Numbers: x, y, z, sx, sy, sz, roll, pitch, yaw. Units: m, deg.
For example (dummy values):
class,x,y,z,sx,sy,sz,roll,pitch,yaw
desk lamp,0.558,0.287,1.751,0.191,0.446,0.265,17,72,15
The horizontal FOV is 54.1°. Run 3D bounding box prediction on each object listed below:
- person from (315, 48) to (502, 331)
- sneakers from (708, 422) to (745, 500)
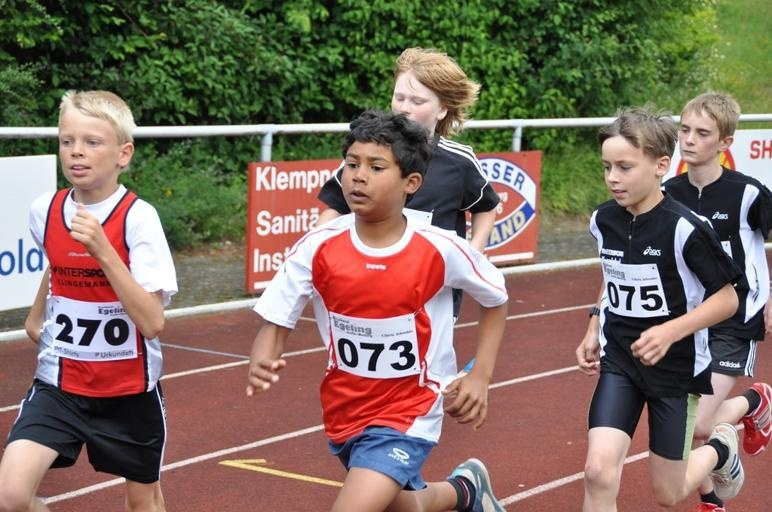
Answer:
class,x,y,z,sx,sy,sz,roll,pitch,yaw
person,0.137,-0.144,5.104,1.242,2.434,0.958,-3,29,-6
sneakers,2.256,1.388,4.983,0.195,0.585,0.252,-1,5,35
